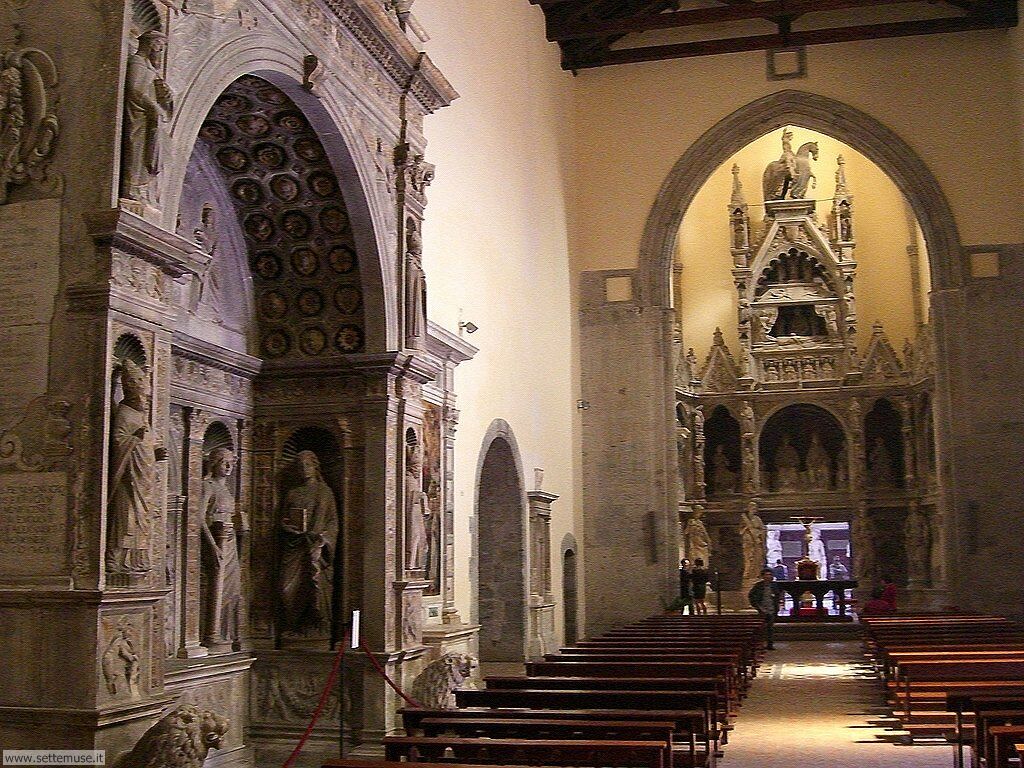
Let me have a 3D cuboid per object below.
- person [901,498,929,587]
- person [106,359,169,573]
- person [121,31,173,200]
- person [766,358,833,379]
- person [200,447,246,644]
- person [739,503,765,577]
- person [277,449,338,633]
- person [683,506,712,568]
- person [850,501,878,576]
[{"bbox_3d":[7.721,2.987,30.181,0.519,1.696,0.281,-8,-13,22],"label":"person"},{"bbox_3d":[-3.040,0.648,12.818,0.355,1.775,0.480,-13,-16,40],"label":"person"},{"bbox_3d":[-3.022,-2.334,13.078,0.409,1.529,0.220,3,-13,-23],"label":"person"},{"bbox_3d":[5.817,-0.471,32.222,1.400,0.536,0.198,-7,-13,23],"label":"person"},{"bbox_3d":[-2.976,1.646,16.150,0.401,2.022,0.764,-1,-12,-9],"label":"person"},{"bbox_3d":[4.790,3.123,31.880,0.490,1.600,0.329,-6,-13,15],"label":"person"},{"bbox_3d":[-2.157,1.769,16.449,0.699,1.703,0.429,-3,-12,3],"label":"person"},{"bbox_3d":[3.733,2.920,31.764,0.407,1.159,0.791,-11,-14,34],"label":"person"},{"bbox_3d":[6.886,3.038,31.278,0.452,1.598,0.347,-5,-12,9],"label":"person"}]
